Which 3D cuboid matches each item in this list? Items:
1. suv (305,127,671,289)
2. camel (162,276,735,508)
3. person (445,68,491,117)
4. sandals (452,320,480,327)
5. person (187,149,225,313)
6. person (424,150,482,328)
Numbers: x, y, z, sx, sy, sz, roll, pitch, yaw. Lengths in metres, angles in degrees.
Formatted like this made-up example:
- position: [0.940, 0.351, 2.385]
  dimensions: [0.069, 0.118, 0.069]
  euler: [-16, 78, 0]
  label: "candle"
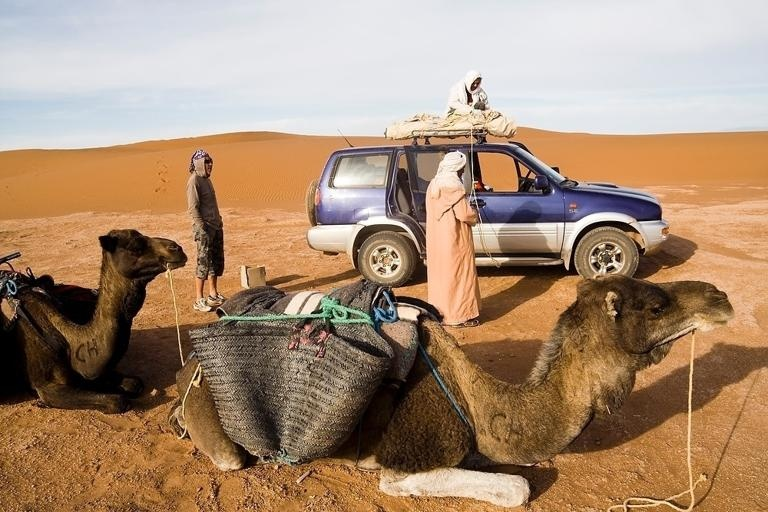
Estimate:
- position: [1.902, -0.938, 11.121]
  dimensions: [6.538, 2.529, 2.745]
  euler: [-1, 12, 4]
  label: "suv"
- position: [0.445, 0.855, 5.697]
  dimensions: [4.781, 2.024, 2.130]
  euler: [2, 6, 5]
  label: "camel"
- position: [1.480, -2.864, 10.084]
  dimensions: [0.718, 0.710, 0.602]
  euler: [0, 15, 6]
  label: "person"
- position: [1.226, 1.011, 8.522]
  dimensions: [0.395, 0.138, 0.139]
  euler: [-1, 2, 1]
  label: "sandals"
- position: [-2.808, -0.389, 9.136]
  dimensions: [0.493, 2.444, 0.618]
  euler: [1, 5, 23]
  label: "person"
- position: [0.933, -0.238, 8.317]
  dimensions: [0.842, 2.420, 0.913]
  euler: [4, -2, -38]
  label: "person"
